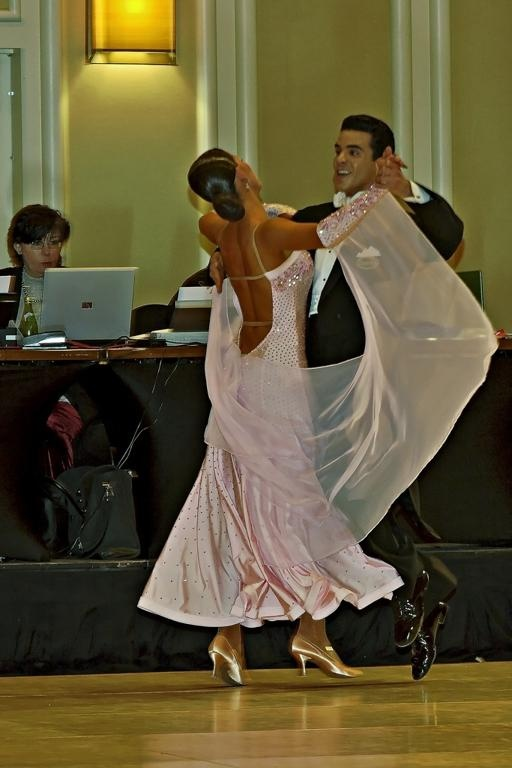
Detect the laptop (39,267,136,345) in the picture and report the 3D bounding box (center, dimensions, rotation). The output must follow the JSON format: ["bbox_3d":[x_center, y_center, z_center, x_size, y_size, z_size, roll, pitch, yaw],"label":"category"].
[{"bbox_3d":[-0.538,-0.265,2.770,0.405,0.323,0.263,1,10,-5],"label":"laptop"}]

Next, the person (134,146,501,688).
[{"bbox_3d":[0.207,0.114,2.197,1.118,1.382,0.674,-5,6,43],"label":"person"}]

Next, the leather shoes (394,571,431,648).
[{"bbox_3d":[0.410,0.604,2.127,0.092,0.197,0.073,17,-9,-41],"label":"leather shoes"}]

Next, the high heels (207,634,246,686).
[{"bbox_3d":[-0.074,0.750,2.117,0.094,0.153,0.088,1,11,-3],"label":"high heels"}]
